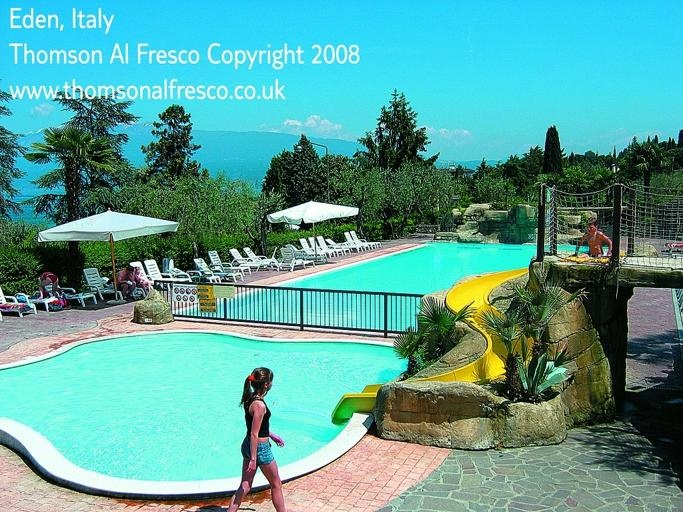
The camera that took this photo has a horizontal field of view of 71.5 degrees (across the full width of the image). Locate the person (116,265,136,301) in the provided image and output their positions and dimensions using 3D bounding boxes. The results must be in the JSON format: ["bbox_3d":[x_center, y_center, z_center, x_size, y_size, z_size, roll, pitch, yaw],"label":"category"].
[{"bbox_3d":[-8.412,0.927,18.531,0.681,1.290,0.577,16,14,-12],"label":"person"}]

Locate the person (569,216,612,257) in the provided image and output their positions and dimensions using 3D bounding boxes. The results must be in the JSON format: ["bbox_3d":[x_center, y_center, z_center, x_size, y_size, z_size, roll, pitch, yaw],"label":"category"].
[{"bbox_3d":[4.853,-0.314,9.205,0.751,0.780,0.406,0,6,44],"label":"person"}]

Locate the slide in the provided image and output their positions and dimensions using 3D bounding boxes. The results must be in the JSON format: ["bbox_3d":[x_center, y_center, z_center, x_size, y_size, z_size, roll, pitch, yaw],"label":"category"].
[{"bbox_3d":[2.545,1.644,9.556,2.372,1.669,3.221,10,21,41],"label":"slide"}]
